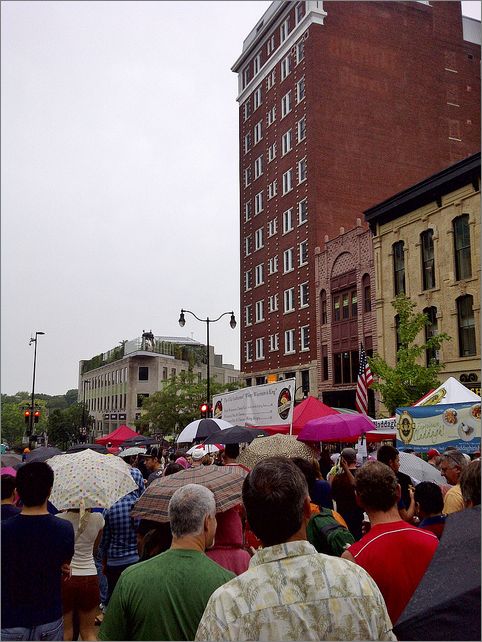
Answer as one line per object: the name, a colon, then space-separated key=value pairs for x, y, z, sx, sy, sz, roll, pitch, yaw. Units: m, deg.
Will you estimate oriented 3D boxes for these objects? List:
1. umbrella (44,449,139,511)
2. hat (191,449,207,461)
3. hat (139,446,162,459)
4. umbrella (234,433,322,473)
umbrella: x=-1.385 y=1.515 z=6.479 sx=0.640 sy=0.288 sz=0.670 roll=5 pitch=7 yaw=9
hat: x=-0.722 y=2.258 z=11.400 sx=0.333 sy=0.125 sz=0.368 roll=-5 pitch=9 yaw=4
hat: x=-1.519 y=2.141 z=10.918 sx=0.385 sy=0.232 sz=0.285 roll=-2 pitch=-7 yaw=12
umbrella: x=0.370 y=1.408 z=7.423 sx=0.939 sy=0.381 sz=0.980 roll=-1 pitch=-13 yaw=-4
